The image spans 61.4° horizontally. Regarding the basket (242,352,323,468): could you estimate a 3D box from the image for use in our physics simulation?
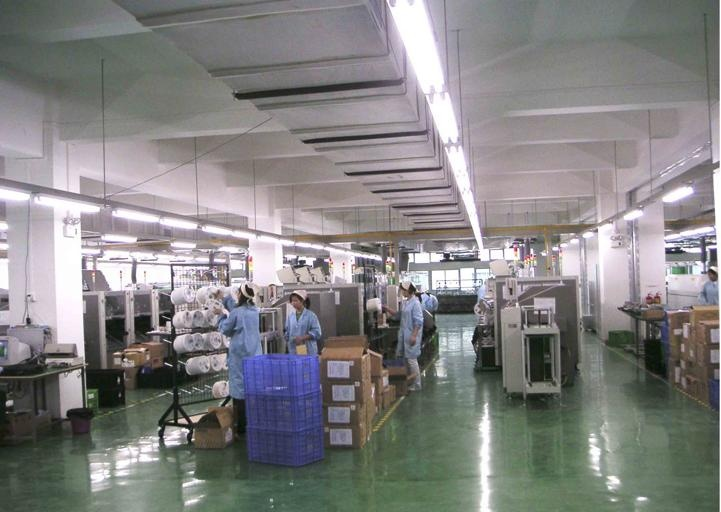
[{"bbox_3d":[-1.032,2.072,8.109,1.009,1.415,0.501,-2,-4,-12],"label":"basket"}]

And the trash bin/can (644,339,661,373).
[{"bbox_3d":[5.754,1.977,11.979,0.348,0.667,0.258,-6,-5,43],"label":"trash bin/can"}]

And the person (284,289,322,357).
[{"bbox_3d":[-0.950,1.055,9.725,0.559,0.998,0.485,-2,-4,-7],"label":"person"}]

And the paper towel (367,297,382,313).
[{"bbox_3d":[0.244,0.989,12.586,0.364,0.309,0.282,-10,-18,10],"label":"paper towel"}]

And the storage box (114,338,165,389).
[{"bbox_3d":[-4.725,2.328,12.992,0.564,0.871,1.163,-3,-4,11],"label":"storage box"}]

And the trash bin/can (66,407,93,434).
[{"bbox_3d":[-4.469,2.596,9.604,0.383,0.351,0.392,2,1,3],"label":"trash bin/can"}]

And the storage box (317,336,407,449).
[{"bbox_3d":[-0.113,1.988,9.280,0.670,1.469,1.584,-3,-4,12],"label":"storage box"}]

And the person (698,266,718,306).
[{"bbox_3d":[7.001,0.603,12.242,0.339,0.725,1.053,-5,-4,28],"label":"person"}]

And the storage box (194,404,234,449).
[{"bbox_3d":[-2.086,2.447,8.959,0.507,0.626,0.623,0,-7,9],"label":"storage box"}]
